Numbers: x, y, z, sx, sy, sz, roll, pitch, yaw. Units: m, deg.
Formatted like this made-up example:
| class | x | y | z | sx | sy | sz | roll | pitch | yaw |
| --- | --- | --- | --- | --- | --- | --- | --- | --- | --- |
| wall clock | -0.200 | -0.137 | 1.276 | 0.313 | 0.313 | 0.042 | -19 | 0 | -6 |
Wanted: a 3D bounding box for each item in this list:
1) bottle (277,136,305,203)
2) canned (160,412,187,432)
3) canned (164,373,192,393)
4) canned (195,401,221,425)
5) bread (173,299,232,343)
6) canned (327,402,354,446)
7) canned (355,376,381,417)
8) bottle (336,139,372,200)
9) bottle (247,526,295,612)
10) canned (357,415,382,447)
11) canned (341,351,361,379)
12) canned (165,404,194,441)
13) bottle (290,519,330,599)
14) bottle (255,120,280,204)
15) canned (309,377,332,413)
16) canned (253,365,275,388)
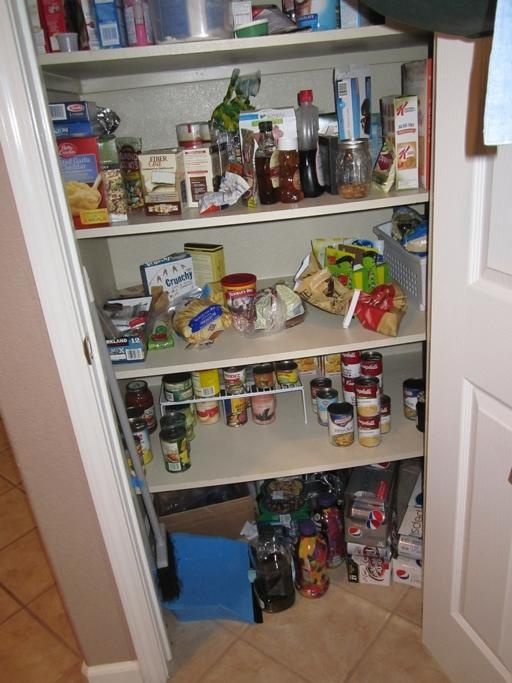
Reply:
| class | x | y | z | sx | sy | sz | roll | pitch | yaw |
| --- | --- | --- | --- | --- | --- | --- | --- | --- | --- |
| bottle | 0.077 | -0.400 | 1.249 | 0.056 | 0.142 | 0.067 | -6 | 23 | 5 |
| canned | -0.224 | 0.214 | 1.451 | 0.049 | 0.048 | 0.049 | 3 | 33 | 3 |
| canned | -0.218 | 0.125 | 1.508 | 0.064 | 0.045 | 0.059 | -25 | 36 | -33 |
| canned | -0.152 | 0.206 | 1.673 | 0.076 | 0.078 | 0.073 | -6 | 24 | -6 |
| bread | -0.141 | -0.049 | 1.423 | 0.155 | 0.100 | 0.132 | -9 | 23 | -5 |
| canned | 0.233 | 0.226 | 1.478 | 0.072 | 0.101 | 0.066 | -17 | 24 | -25 |
| canned | 0.298 | 0.145 | 1.420 | 0.070 | 0.104 | 0.069 | 21 | 38 | 38 |
| bottle | 0.223 | -0.398 | 1.228 | 0.080 | 0.127 | 0.074 | -6 | 23 | 3 |
| bottle | 0.060 | 0.673 | 1.630 | 0.140 | 0.164 | 0.253 | 0 | 7 | -1 |
| canned | 0.306 | 0.238 | 1.497 | 0.082 | 0.092 | 0.082 | -3 | 20 | 5 |
| canned | 0.270 | 0.064 | 1.504 | 0.061 | 0.101 | 0.062 | 2 | 26 | 10 |
| canned | -0.212 | 0.223 | 1.471 | 0.066 | 0.105 | 0.062 | -10 | 34 | -12 |
| bottle | 0.157 | 0.623 | 1.526 | 0.098 | 0.243 | 0.064 | -10 | 23 | -6 |
| bottle | 0.024 | -0.424 | 1.265 | 0.060 | 0.182 | 0.099 | -5 | 23 | 7 |
| canned | 0.192 | 0.158 | 1.568 | 0.072 | 0.114 | 0.072 | 6 | 36 | 14 |
| canned | 0.026 | 0.101 | 1.560 | 0.048 | 0.050 | 0.048 | 11 | 28 | 29 |
